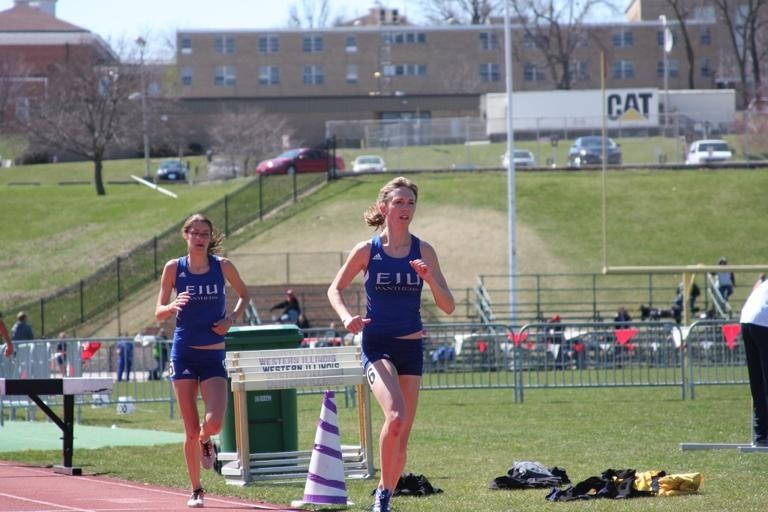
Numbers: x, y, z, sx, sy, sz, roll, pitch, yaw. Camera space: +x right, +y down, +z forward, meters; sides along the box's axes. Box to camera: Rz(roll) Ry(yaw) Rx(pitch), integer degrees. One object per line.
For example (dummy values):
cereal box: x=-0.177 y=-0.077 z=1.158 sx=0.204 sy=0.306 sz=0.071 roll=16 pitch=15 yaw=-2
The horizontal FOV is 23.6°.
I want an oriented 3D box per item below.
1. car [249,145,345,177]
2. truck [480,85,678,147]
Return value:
car: x=-4.937 y=-5.896 z=109.529 sx=5.321 sy=1.657 sz=1.463 roll=-2 pitch=0 yaw=22
truck: x=11.768 y=-8.646 z=111.210 sx=16.952 sy=4.744 sz=4.424 roll=3 pitch=-2 yaw=31
